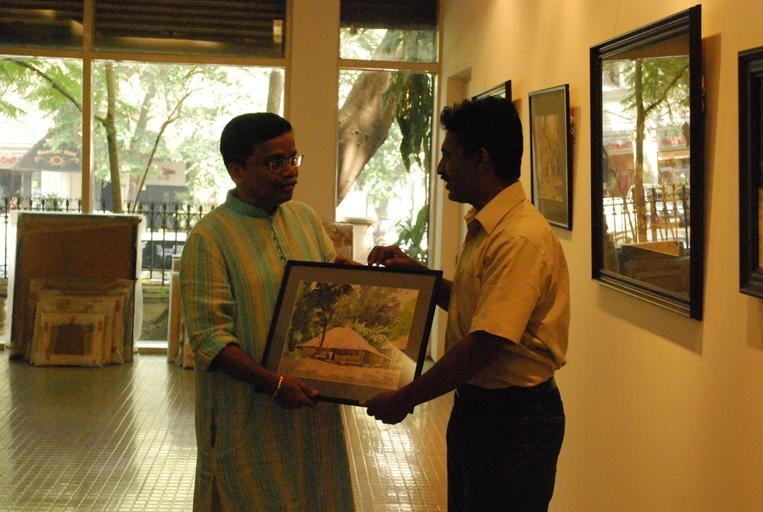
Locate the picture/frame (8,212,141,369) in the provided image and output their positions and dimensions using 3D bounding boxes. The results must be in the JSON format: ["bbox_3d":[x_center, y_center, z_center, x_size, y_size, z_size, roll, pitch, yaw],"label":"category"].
[{"bbox_3d":[-3.128,0.314,6.127,1.295,1.504,0.347,2,-6,-2],"label":"picture/frame"}]

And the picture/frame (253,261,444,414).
[{"bbox_3d":[-0.153,0.314,2.347,0.490,0.475,0.050,8,-17,9],"label":"picture/frame"}]

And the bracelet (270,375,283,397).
[{"bbox_3d":[-0.382,0.477,2.251,0.019,0.063,0.051,12,-5,5],"label":"bracelet"}]
